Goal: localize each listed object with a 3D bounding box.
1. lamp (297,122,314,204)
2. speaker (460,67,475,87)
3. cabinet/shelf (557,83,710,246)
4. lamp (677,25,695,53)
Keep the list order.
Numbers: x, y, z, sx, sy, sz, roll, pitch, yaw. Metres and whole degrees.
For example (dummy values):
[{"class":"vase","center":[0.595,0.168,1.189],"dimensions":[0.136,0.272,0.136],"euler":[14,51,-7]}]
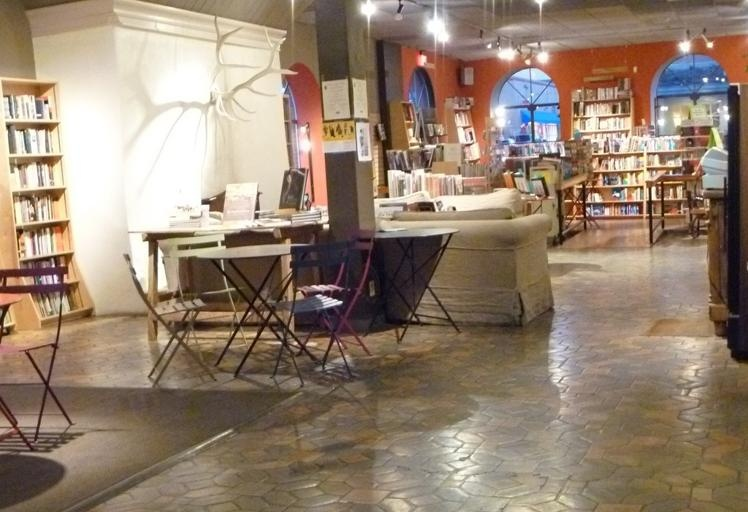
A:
[{"class":"lamp","center":[-1.282,-1.871,11.457],"dimensions":[0.288,1.575,0.419],"euler":[-9,8,-9]},{"class":"speaker","center":[2.809,-5.397,17.125],"dimensions":[0.243,0.641,0.680],"euler":[6,9,44]},{"class":"cabinet/shelf","center":[6.581,-2.759,14.291],"dimensions":[2.913,3.828,3.805],"euler":[-4,7,18]},{"class":"lamp","center":[8.001,-5.588,14.614],"dimensions":[0.458,0.691,0.423],"euler":[0,1,16]}]
